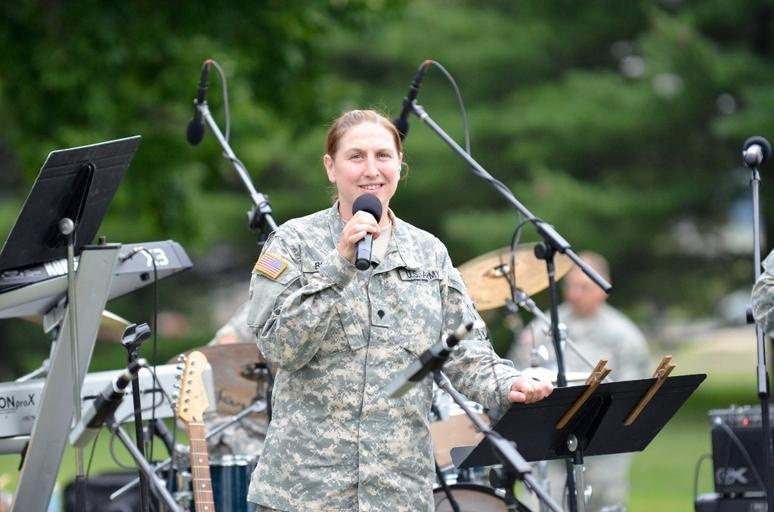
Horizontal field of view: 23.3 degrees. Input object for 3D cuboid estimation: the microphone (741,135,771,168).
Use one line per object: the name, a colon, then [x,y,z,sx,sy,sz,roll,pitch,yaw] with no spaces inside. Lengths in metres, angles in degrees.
microphone: [4.389,-1.235,22.409,0.309,0.510,0.317,-8,-28,11]

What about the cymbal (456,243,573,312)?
cymbal: [1.485,0.271,23.010,0.993,0.221,0.984,0,-44,-17]

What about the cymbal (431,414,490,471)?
cymbal: [0.866,2.256,22.838,0.443,0.756,0.721,2,6,-27]
